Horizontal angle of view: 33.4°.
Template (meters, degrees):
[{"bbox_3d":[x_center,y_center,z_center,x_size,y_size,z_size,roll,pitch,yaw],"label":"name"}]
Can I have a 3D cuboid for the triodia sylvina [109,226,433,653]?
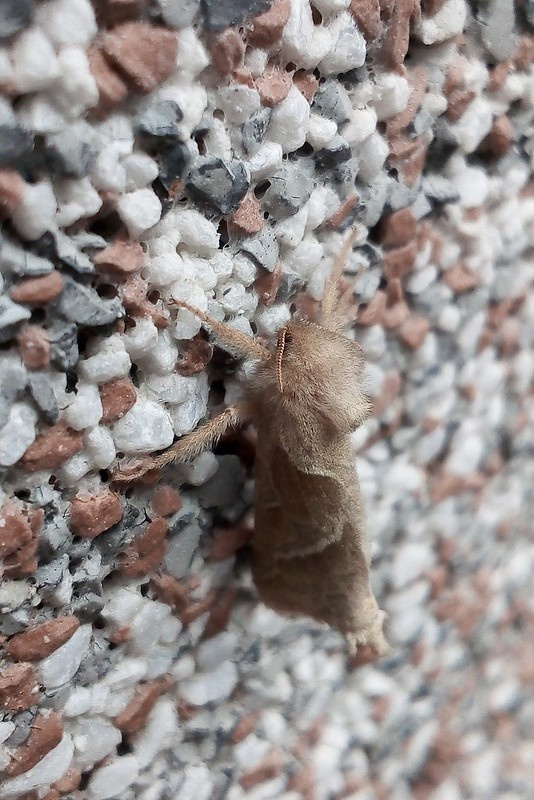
[{"bbox_3d":[0.014,0.050,0.876,0.372,0.367,0.119,-5,13,-17],"label":"triodia sylvina"}]
